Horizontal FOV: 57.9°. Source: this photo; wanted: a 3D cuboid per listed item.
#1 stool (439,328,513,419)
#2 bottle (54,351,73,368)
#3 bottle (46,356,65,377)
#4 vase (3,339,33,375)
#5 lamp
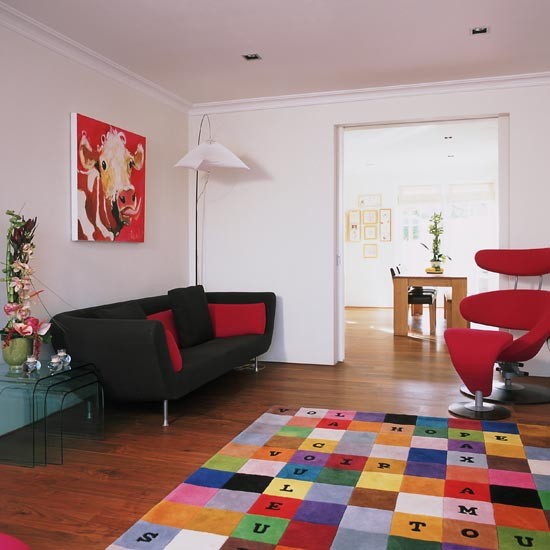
[{"bbox_3d":[1.363,0.638,3.406,0.519,0.589,0.468,-8,-2,5],"label":"stool"},{"bbox_3d":[-1.237,0.502,2.936,0.104,0.094,0.089,-1,2,0],"label":"bottle"},{"bbox_3d":[-1.264,0.526,2.845,0.119,0.139,0.083,-4,-9,26],"label":"bottle"},{"bbox_3d":[-1.427,0.456,2.759,0.199,0.188,0.184,2,-4,-10],"label":"vase"},{"bbox_3d":[-0.639,-0.791,4.916,0.655,1.800,0.872,-2,2,-11],"label":"lamp"}]
